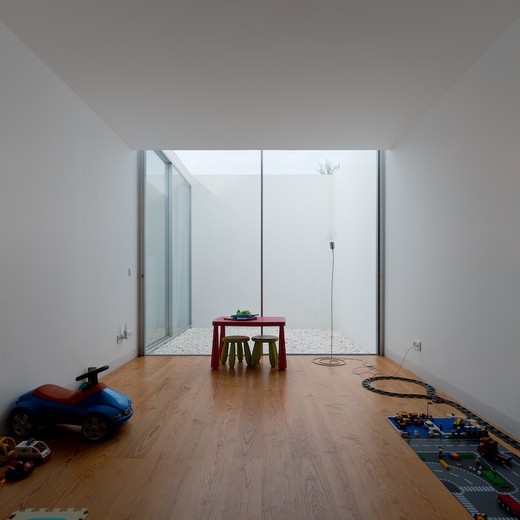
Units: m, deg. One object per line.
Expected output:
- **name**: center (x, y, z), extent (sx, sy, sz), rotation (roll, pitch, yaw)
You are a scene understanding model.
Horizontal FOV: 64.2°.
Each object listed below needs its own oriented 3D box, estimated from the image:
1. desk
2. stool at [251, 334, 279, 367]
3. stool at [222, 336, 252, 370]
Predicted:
- **desk**: center (-0.109, 0.935, 4.900), extent (0.831, 0.546, 0.814), rotation (0, -1, 3)
- **stool**: center (0.053, 1.042, 4.850), extent (0.281, 0.351, 0.320), rotation (4, 8, 11)
- **stool**: center (-0.224, 1.070, 4.840), extent (0.268, 0.358, 0.298), rotation (-6, -7, -1)
